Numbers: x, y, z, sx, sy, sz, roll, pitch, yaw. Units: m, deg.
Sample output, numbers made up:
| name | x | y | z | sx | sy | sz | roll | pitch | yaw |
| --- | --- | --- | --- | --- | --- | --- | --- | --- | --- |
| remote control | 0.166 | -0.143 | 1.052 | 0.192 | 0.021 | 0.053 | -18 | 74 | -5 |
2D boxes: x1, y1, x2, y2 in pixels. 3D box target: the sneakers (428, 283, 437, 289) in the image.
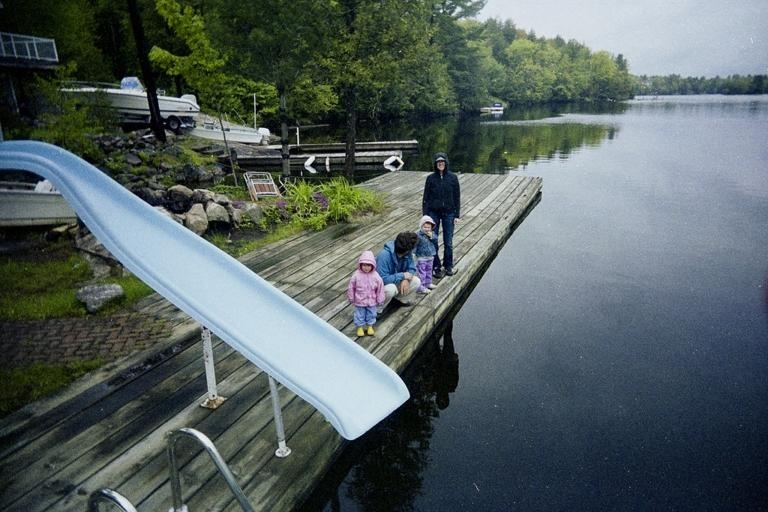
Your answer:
| name | x | y | z | sx | sy | sz | roll | pitch | yaw |
| --- | --- | --- | --- | --- | --- | --- | --- | --- | --- |
| sneakers | 0.934 | 0.577 | 9.832 | 0.129 | 0.058 | 0.072 | 8 | 23 | 33 |

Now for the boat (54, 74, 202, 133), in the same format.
| name | x | y | z | sx | sy | sz | roll | pitch | yaw |
| --- | --- | --- | --- | --- | --- | --- | --- | --- | --- |
| boat | -11.293 | -6.529 | 23.508 | 6.110 | 2.641 | 1.995 | -1 | 16 | -36 |

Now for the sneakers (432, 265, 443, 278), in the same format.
| name | x | y | z | sx | sy | sz | roll | pitch | yaw |
| --- | --- | --- | --- | --- | --- | --- | --- | --- | --- |
| sneakers | 1.059 | 0.319 | 10.233 | 0.174 | 0.143 | 0.341 | -3 | 9 | 4 |

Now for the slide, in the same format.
| name | x | y | z | sx | sy | sz | roll | pitch | yaw |
| --- | --- | --- | --- | --- | --- | --- | --- | --- | --- |
| slide | -3.138 | 0.584 | 8.831 | 7.746 | 0.684 | 1.614 | 41 | 37 | 5 |
